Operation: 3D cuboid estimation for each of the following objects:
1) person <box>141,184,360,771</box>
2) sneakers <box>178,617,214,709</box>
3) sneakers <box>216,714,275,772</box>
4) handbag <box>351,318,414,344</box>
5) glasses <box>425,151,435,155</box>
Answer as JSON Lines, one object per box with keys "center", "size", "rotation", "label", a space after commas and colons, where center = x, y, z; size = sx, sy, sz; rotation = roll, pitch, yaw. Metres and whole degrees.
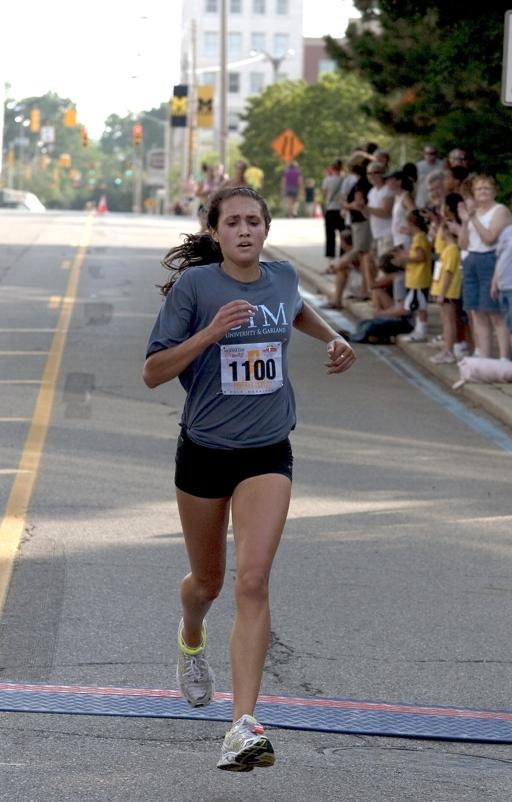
{"center": [-0.081, 0.213, 2.568], "size": [0.571, 1.790, 1.251], "rotation": [0, 6, 4], "label": "person"}
{"center": [-0.214, 0.912, 2.890], "size": [0.102, 0.286, 0.127], "rotation": [-4, -7, -4], "label": "sneakers"}
{"center": [-0.028, 0.877, 2.052], "size": [0.129, 0.165, 0.144], "rotation": [0, 6, -2], "label": "sneakers"}
{"center": [1.942, -1.077, 12.780], "size": [0.594, 0.226, 0.567], "rotation": [-2, 2, -2], "label": "handbag"}
{"center": [2.880, -4.095, 13.772], "size": [0.103, 0.068, 0.107], "rotation": [2, 20, 1], "label": "glasses"}
